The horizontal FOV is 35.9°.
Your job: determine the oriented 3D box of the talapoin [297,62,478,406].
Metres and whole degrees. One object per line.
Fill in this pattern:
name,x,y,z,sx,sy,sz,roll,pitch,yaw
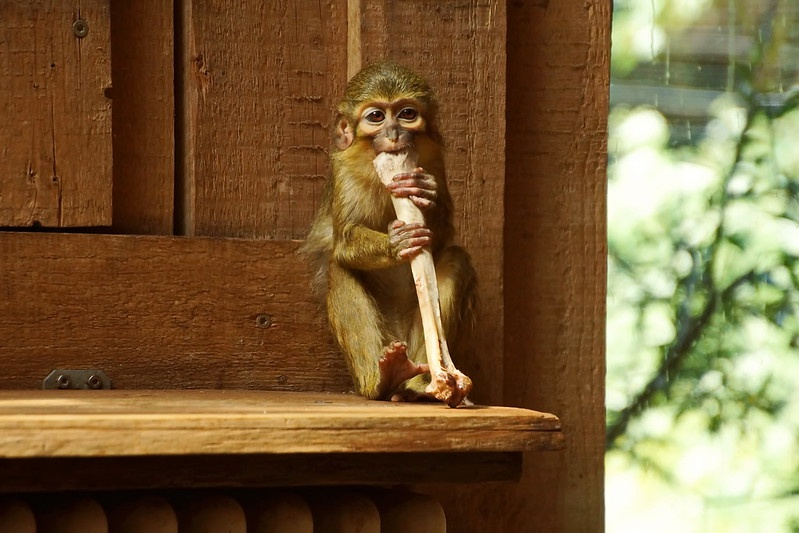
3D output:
talapoin,-0.038,-0.138,4.966,0.731,1.342,0.465,2,-6,-3
